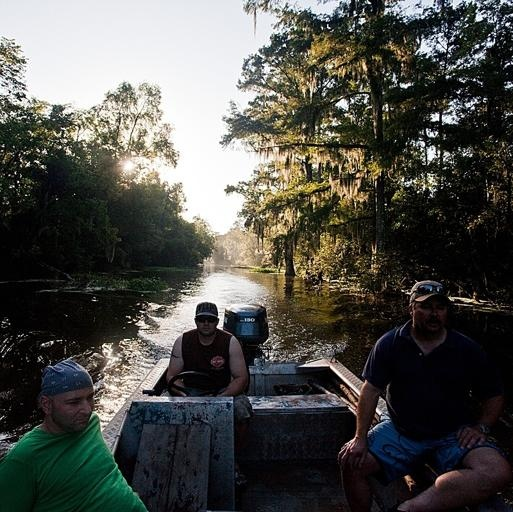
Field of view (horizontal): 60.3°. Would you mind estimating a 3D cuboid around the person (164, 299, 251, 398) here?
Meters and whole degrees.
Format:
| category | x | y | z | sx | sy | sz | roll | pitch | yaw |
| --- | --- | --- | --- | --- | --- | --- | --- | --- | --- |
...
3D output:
| category | x | y | z | sx | sy | sz | roll | pitch | yaw |
| --- | --- | --- | --- | --- | --- | --- | --- | --- | --- |
| person | -0.454 | 0.872 | 4.456 | 0.831 | 1.121 | 0.848 | 0 | -2 | -2 |
